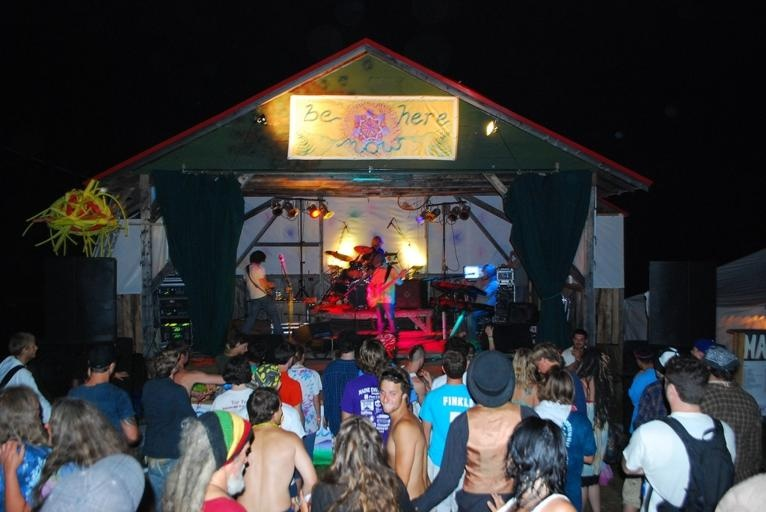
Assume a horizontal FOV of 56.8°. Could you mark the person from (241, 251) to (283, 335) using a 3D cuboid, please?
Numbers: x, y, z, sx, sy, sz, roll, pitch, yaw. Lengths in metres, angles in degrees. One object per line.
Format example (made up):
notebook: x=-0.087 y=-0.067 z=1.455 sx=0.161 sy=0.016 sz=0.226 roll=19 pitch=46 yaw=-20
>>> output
person: x=-2.561 y=0.715 z=15.186 sx=0.781 sy=1.839 sz=1.283 roll=0 pitch=-7 yaw=-10

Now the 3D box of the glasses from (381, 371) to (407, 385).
glasses: x=0.155 y=1.594 z=9.496 sx=0.197 sy=0.067 sz=0.220 roll=4 pitch=-30 yaw=11

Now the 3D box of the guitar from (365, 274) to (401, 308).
guitar: x=0.066 y=0.699 z=16.546 sx=0.727 sy=0.878 sz=1.106 roll=0 pitch=-7 yaw=-9

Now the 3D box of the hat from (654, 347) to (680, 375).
hat: x=4.074 y=1.493 z=10.170 sx=0.244 sy=0.353 sz=0.333 roll=17 pitch=38 yaw=37

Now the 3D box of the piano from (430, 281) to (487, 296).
piano: x=1.806 y=0.749 z=17.247 sx=0.767 sy=0.398 sz=1.080 roll=4 pitch=-9 yaw=-34

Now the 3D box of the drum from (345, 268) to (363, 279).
drum: x=-0.701 y=0.423 z=17.867 sx=0.269 sy=0.184 sz=0.271 roll=1 pitch=-5 yaw=0

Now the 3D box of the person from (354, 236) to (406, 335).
person: x=0.176 y=0.698 z=16.666 sx=0.329 sy=2.316 sz=0.946 roll=4 pitch=-2 yaw=-38

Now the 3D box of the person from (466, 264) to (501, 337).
person: x=2.418 y=1.078 z=16.948 sx=0.687 sy=0.596 sz=1.334 roll=18 pitch=27 yaw=8

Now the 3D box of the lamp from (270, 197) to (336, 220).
lamp: x=-2.294 y=-1.387 z=20.615 sx=1.608 sy=0.722 sz=2.266 roll=-1 pitch=-7 yaw=-1
